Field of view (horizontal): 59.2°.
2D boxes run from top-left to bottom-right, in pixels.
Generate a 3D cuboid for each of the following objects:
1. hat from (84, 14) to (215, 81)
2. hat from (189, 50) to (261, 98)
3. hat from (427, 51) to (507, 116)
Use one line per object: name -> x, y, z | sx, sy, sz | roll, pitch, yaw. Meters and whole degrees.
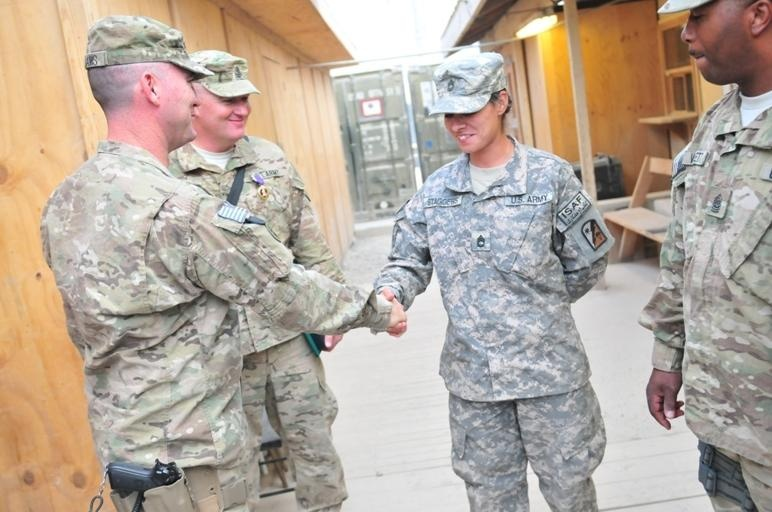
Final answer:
hat -> -0.947, -0.805, 2.655 | 0.368, 0.156, 0.231 | -3, 13, -22
hat -> -0.915, -1.010, 3.648 | 0.298, 0.150, 0.442 | -22, 46, -40
hat -> 0.398, -0.837, 3.248 | 0.302, 0.196, 0.432 | 7, 27, 35
